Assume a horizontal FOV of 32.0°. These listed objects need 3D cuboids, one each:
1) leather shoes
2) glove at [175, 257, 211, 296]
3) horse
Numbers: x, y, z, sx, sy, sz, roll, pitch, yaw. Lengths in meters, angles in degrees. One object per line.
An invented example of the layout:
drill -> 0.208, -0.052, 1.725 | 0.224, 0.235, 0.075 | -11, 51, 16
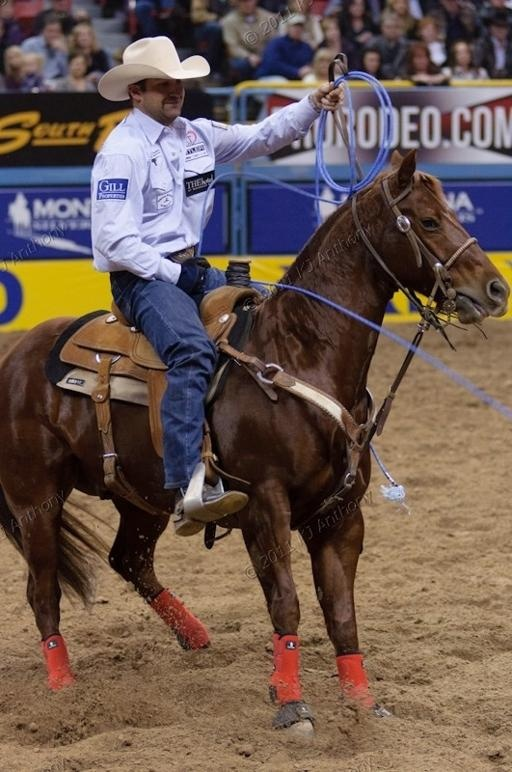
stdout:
leather shoes -> -0.153, 0.401, 2.954 | 0.251, 0.081, 0.148 | -30, 40, 16
glove -> -0.205, -0.396, 3.221 | 0.071, 0.101, 0.138 | 12, 54, 33
horse -> -0.095, 0.229, 3.202 | 2.000, 1.906, 0.692 | 0, 11, 32
